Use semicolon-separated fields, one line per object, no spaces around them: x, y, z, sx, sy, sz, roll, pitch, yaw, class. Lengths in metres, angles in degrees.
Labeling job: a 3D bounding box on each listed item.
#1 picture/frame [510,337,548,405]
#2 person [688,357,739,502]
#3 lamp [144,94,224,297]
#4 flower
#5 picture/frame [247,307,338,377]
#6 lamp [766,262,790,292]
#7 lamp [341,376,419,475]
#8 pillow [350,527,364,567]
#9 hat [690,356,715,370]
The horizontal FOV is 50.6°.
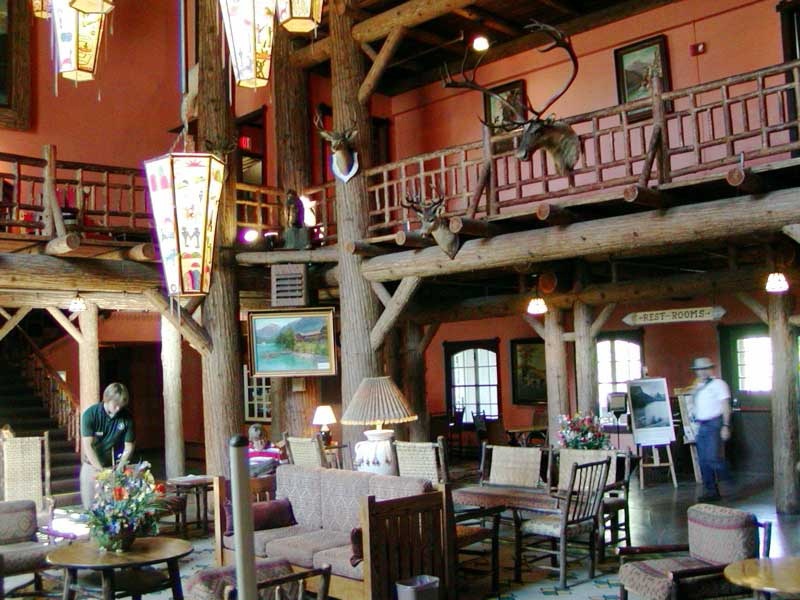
2.534;1.405;16.746;0.886;1.331;0.179;-11;-12;42;picture/frame
4.223;1.788;11.378;0.443;1.845;1.019;-4;-9;12;person
-2.172;-0.852;8.577;0.772;1.533;0.624;0;-9;-15;lamp
-2.608;1.885;8.067;0.659;0.665;0.645;4;-13;-2;flower
-1.652;0.639;13.077;1.060;0.783;0.082;-1;-3;6;picture/frame
4.903;-0.292;10.919;0.356;0.375;0.360;2;5;41;lamp
-0.100;1.384;9.431;0.954;1.219;0.938;-10;-14;39;lamp
-0.396;2.244;7.686;0.097;0.347;0.152;-1;-9;-11;pillow
4.448;0.917;12.362;0.439;0.186;0.488;-4;2;11;hat
